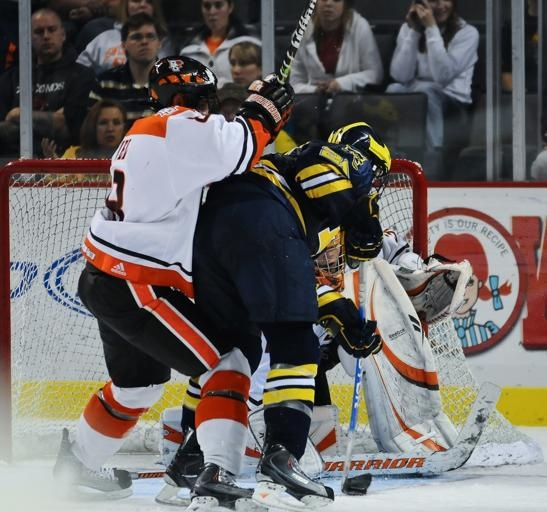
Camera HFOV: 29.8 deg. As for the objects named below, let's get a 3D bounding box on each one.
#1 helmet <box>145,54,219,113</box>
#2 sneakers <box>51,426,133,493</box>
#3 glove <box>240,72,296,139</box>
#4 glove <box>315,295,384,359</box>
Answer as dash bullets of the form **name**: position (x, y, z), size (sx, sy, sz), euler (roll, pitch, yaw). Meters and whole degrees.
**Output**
- **helmet**: position (-0.320, -0.595, 3.613), size (0.234, 0.169, 0.179), euler (-2, 13, -8)
- **sneakers**: position (-0.698, 0.811, 3.992), size (0.295, 0.271, 0.191), euler (-3, 14, -9)
- **glove**: position (-0.028, -0.517, 3.656), size (0.220, 0.161, 0.098), euler (-56, 4, -31)
- **glove**: position (0.259, 0.247, 3.512), size (0.238, 0.110, 0.157), euler (21, 33, -46)
